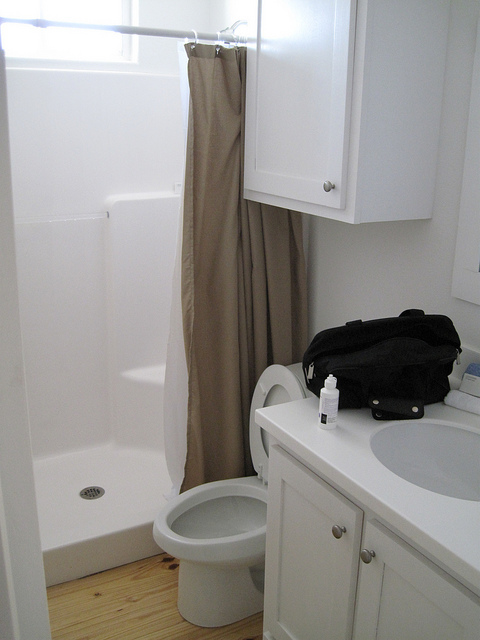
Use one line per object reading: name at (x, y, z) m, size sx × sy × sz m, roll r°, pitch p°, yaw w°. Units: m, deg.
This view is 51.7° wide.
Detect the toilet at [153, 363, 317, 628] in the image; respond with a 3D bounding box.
toilet at (0.020, 0.584, 1.729) m, size 0.514 × 0.877 × 0.355 m, roll 0°, pitch 10°, yaw -31°

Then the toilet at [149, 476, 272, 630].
toilet at (-0.051, 0.814, 1.730) m, size 0.371 × 0.407 × 0.322 m, roll -6°, pitch 11°, yaw -42°
